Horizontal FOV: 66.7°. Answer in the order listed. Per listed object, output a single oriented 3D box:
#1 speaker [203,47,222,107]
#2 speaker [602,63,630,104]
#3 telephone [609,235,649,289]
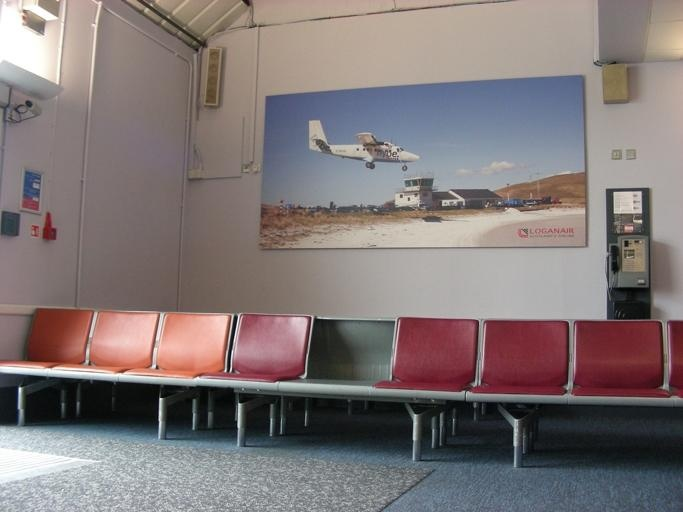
[{"bbox_3d":[-1.712,-2.398,6.930,0.247,0.827,0.096,-2,-4,11],"label":"speaker"},{"bbox_3d":[3.080,-1.937,5.819,0.264,0.445,0.118,-2,-4,19],"label":"speaker"},{"bbox_3d":[3.089,0.053,5.567,0.388,0.560,0.106,-2,-4,23],"label":"telephone"}]
